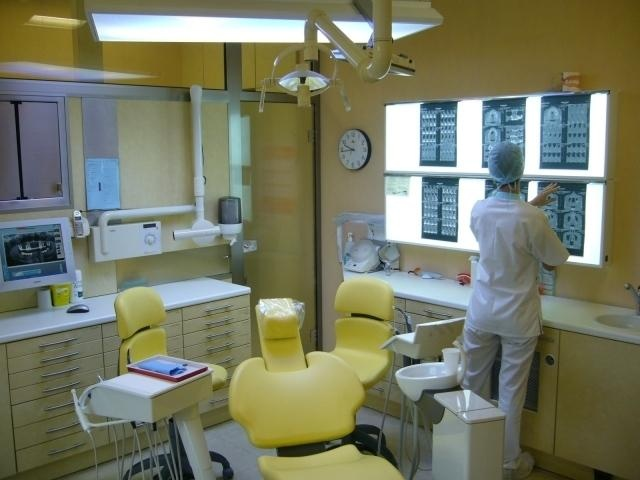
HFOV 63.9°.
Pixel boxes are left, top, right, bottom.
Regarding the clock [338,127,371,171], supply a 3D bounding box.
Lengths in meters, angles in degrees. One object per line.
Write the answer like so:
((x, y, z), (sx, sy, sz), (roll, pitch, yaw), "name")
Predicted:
((0.336, -0.844, 4.822), (0.088, 0.383, 0.347), (-13, 13, -44), "clock")

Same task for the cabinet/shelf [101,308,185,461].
((-1.217, 0.887, 3.831), (0.518, 0.863, 0.541), (4, 7, 16), "cabinet/shelf")

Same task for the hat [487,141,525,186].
((1.275, -0.516, 3.556), (0.269, 0.346, 0.374), (4, -2, 26), "hat")

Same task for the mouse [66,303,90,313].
((-1.733, 0.486, 3.674), (0.112, 0.038, 0.070), (5, 3, -11), "mouse")

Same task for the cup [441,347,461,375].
((0.706, 0.642, 2.742), (0.113, 0.122, 0.116), (-3, -2, 0), "cup")

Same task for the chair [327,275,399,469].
((0.336, 0.878, 3.498), (0.584, 1.078, 0.636), (12, 2, -11), "chair")

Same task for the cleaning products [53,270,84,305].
((-1.866, 0.359, 3.797), (0.179, 0.244, 0.242), (4, 4, 44), "cleaning products")

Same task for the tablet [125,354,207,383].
((-0.752, 0.634, 2.568), (0.371, 0.063, 0.210), (1, 10, 25), "tablet")

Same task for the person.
((1.290, 0.478, 3.433), (0.665, 2.236, 0.417), (1, 10, 26), "person")

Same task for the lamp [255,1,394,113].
((0.019, -0.742, 2.173), (0.311, 0.432, 0.675), (-1, 10, -22), "lamp")
